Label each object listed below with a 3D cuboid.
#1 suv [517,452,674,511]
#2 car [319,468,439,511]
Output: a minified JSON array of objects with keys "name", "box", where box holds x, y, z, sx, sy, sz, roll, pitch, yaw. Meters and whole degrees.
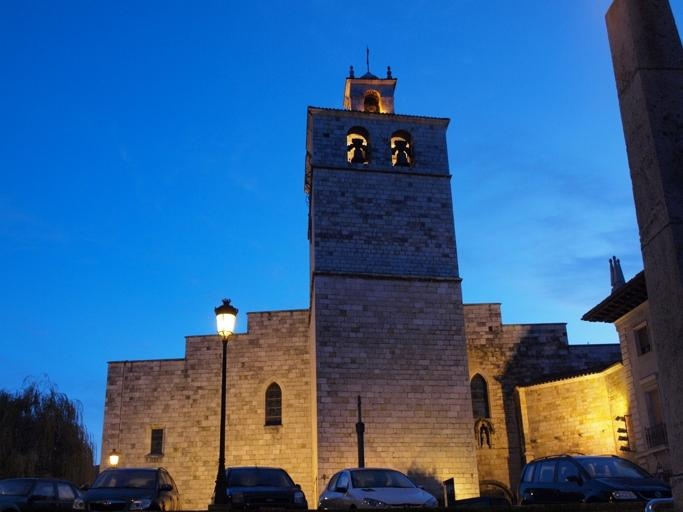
[{"name":"suv","box":[5.180,4.613,14.972,1.381,1.098,3.359,11,-26,-27]},{"name":"car","box":[0.569,4.914,15.462,1.291,0.960,2.728,5,-28,-13]}]
